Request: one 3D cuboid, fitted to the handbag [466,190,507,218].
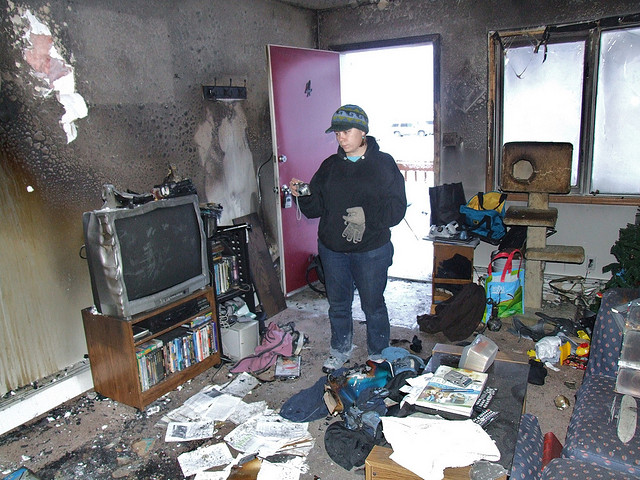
[{"bbox_3d":[1.655,-0.373,4.735,0.311,0.236,0.325,-10,-3,29],"label":"handbag"}]

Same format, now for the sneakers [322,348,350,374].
[{"bbox_3d":[0.122,0.977,3.866,0.115,0.113,0.230,-5,-6,28],"label":"sneakers"}]

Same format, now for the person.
[{"bbox_3d":[0.245,0.014,3.691,0.809,2.024,0.362,1,14,9],"label":"person"}]

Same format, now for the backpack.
[{"bbox_3d":[1.171,0.637,4.274,0.600,0.424,0.330,1,14,11],"label":"backpack"}]

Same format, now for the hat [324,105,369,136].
[{"bbox_3d":[0.194,-0.857,3.464,0.272,0.172,0.192,-11,15,-35],"label":"hat"}]

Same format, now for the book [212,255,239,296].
[{"bbox_3d":[-0.810,0.294,4.095,0.168,0.297,0.310,-5,4,8],"label":"book"}]

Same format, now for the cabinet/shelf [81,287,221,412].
[{"bbox_3d":[-1.286,0.801,3.820,0.613,0.713,0.904,4,14,25],"label":"cabinet/shelf"}]

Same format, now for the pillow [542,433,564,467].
[{"bbox_3d":[1.298,1.166,2.727,0.158,0.116,0.039,-30,-10,-43],"label":"pillow"}]

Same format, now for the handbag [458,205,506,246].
[{"bbox_3d":[1.549,-0.134,4.614,0.293,0.207,0.156,24,42,25],"label":"handbag"}]

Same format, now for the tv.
[{"bbox_3d":[-1.262,0.098,3.430,0.428,0.643,0.755,6,16,34],"label":"tv"}]
